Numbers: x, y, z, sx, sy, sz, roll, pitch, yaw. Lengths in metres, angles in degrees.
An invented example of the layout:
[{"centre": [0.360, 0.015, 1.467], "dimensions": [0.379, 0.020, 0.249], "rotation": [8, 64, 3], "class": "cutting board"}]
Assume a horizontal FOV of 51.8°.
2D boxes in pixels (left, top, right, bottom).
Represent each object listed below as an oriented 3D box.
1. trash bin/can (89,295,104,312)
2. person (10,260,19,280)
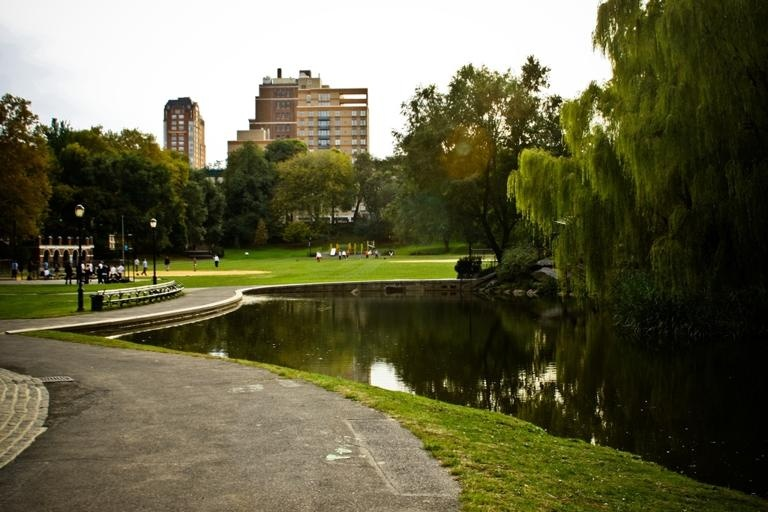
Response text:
[{"centre": [-12.998, 2.112, 35.875], "dimensions": [0.572, 0.875, 0.650], "rotation": [0, 0, 16], "class": "trash bin/can"}, {"centre": [-27.625, 1.038, 59.145], "dimensions": [0.344, 1.318, 1.973], "rotation": [2, 4, -27], "class": "person"}]
